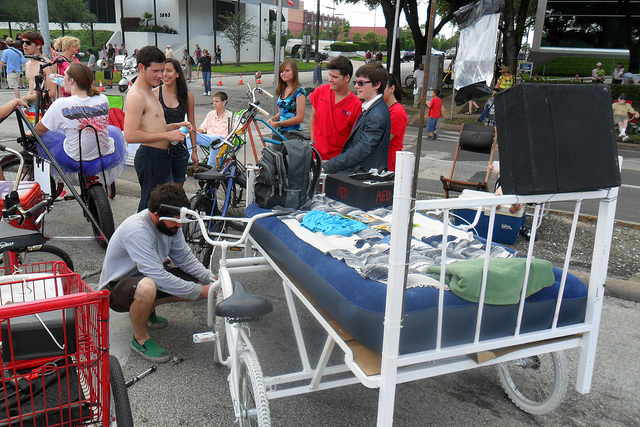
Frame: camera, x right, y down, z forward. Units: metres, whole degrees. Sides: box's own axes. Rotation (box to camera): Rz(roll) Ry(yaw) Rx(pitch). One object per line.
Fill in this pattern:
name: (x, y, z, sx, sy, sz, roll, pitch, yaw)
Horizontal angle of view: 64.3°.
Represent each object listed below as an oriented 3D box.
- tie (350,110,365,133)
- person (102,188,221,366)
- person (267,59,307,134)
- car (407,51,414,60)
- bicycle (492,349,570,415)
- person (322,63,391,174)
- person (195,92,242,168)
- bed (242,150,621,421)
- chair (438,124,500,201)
tie: (0.476, -1.121, 6.291, 0.065, 0.260, 0.228, 31, 17, 25)
person: (-1.601, 0.522, 5.068, 1.182, 1.531, 1.107, 11, 12, 4)
person: (-0.499, -1.762, 7.785, 0.605, 1.090, 1.660, 1, 17, -3)
car: (10.962, -18.852, 61.131, 0.649, 0.870, 2.950, 5, 18, 11)
bicycle: (1.868, 1.516, 4.519, 0.145, 0.645, 0.586, 28, -35, -30)
person: (0.444, -1.102, 5.998, 0.771, 1.342, 0.907, 1, 25, -3)
person: (-1.801, -1.357, 8.540, 0.872, 1.329, 0.817, 1, 8, -15)
bed: (0.663, 0.755, 5.518, 2.833, 2.511, 3.871, -5, 18, -21)
chair: (2.807, -0.734, 9.294, 0.789, 1.188, 1.560, 11, -18, 28)
